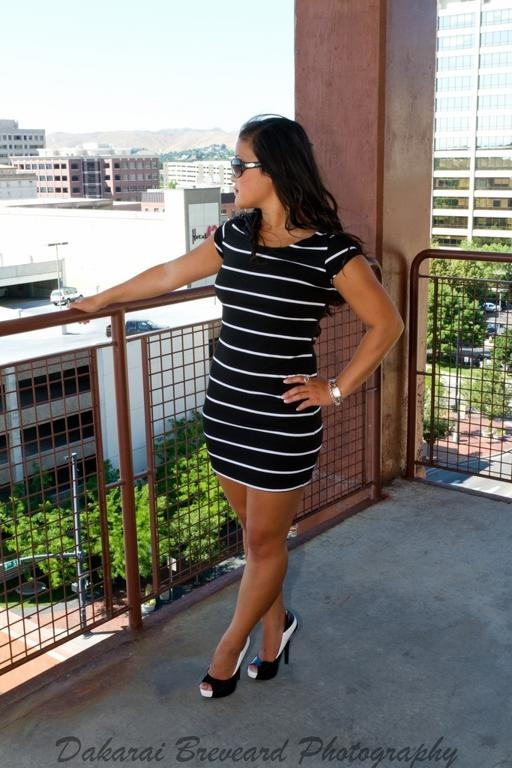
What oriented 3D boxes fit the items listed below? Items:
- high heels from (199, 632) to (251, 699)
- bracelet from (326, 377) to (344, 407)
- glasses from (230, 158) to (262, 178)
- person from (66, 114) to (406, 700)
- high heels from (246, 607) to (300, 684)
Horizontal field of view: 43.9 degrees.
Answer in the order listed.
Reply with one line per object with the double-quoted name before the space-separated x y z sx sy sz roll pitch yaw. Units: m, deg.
"high heels" -0.065 0.752 1.775 0.076 0.049 0.263 -7 29 29
"bracelet" 0.181 0.015 1.441 0.018 0.050 0.047 -19 -11 10
"glasses" -0.027 -0.485 1.435 0.054 0.020 0.047 -4 13 -14
"person" 0.025 0.117 1.662 0.354 1.507 0.709 -7 9 -36
"high heels" 0.056 0.784 1.914 0.085 0.141 0.269 -4 -6 29
